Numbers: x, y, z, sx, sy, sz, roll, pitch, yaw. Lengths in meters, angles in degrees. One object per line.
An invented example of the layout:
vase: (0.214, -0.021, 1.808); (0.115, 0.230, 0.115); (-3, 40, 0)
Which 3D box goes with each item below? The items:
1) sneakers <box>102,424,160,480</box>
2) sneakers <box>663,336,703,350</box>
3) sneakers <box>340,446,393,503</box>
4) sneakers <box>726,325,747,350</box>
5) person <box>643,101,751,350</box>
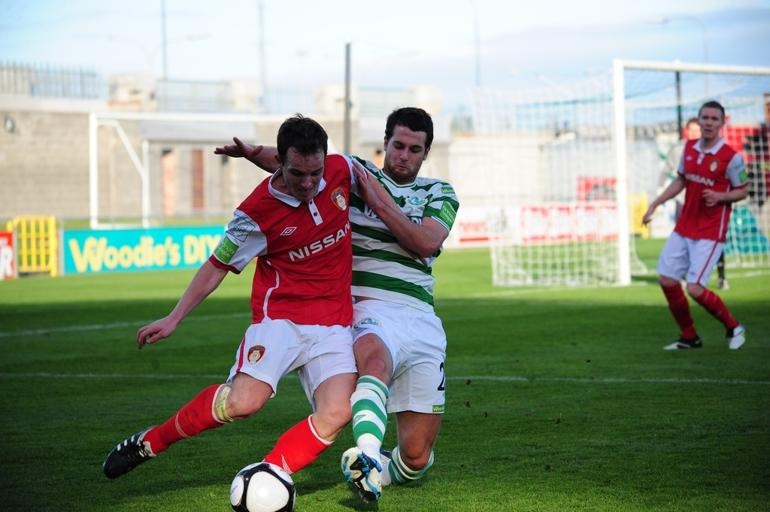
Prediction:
sneakers: (-1.756, 1.454, 6.553); (0.578, 0.201, 0.252); (-32, 30, 19)
sneakers: (3.051, 0.911, 9.275); (0.450, 0.173, 0.155); (-2, -1, -1)
sneakers: (-0.127, 1.515, 6.194); (0.302, 0.427, 0.140); (-33, 5, -41)
sneakers: (3.609, 0.796, 9.301); (0.122, 0.149, 0.314); (-34, 18, 46)
person: (3.997, -0.307, 11.757); (1.038, 3.462, 1.066); (6, -8, 44)
